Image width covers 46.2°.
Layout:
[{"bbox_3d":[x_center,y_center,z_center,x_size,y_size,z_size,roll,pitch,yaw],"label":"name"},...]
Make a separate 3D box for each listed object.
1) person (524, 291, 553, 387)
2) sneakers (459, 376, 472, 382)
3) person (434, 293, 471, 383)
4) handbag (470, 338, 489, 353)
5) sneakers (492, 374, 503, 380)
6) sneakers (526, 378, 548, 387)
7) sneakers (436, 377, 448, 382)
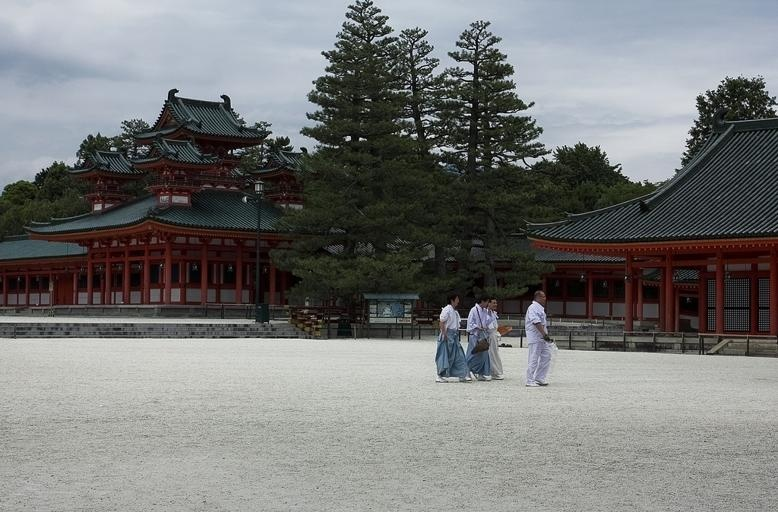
[{"bbox_3d":[3.562,1.920,21.628,0.586,2.242,1.240,0,-5,8],"label":"person"},{"bbox_3d":[1.873,2.990,22.129,0.120,0.117,0.294,4,-10,-40],"label":"sneakers"},{"bbox_3d":[1.560,1.978,22.087,0.800,2.090,1.497,0,-5,4],"label":"person"},{"bbox_3d":[2.262,2.198,22.285,0.394,0.350,0.300,-6,5,-14],"label":"handbag"},{"bbox_3d":[2.741,3.022,22.753,0.311,0.111,0.104,-5,-3,35],"label":"sneakers"},{"bbox_3d":[3.441,2.920,21.143,0.516,0.197,0.166,-1,1,-4],"label":"sneakers"},{"bbox_3d":[1.270,2.946,21.855,0.237,0.136,0.347,0,-5,3],"label":"sneakers"}]
